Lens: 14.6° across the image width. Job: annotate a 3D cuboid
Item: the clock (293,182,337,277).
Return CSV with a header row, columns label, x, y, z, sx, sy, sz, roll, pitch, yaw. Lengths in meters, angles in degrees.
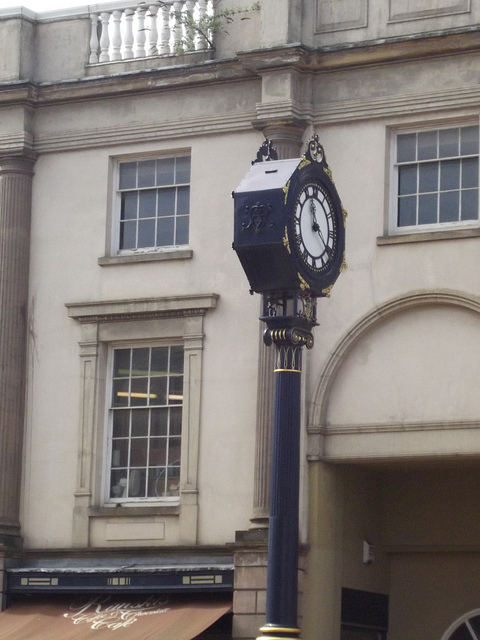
label,x,y,z,sx,sy,sz,roll,pitch,yaw
clock,0.706,-0.867,18.405,0.059,0.900,0.793,-5,-9,22
